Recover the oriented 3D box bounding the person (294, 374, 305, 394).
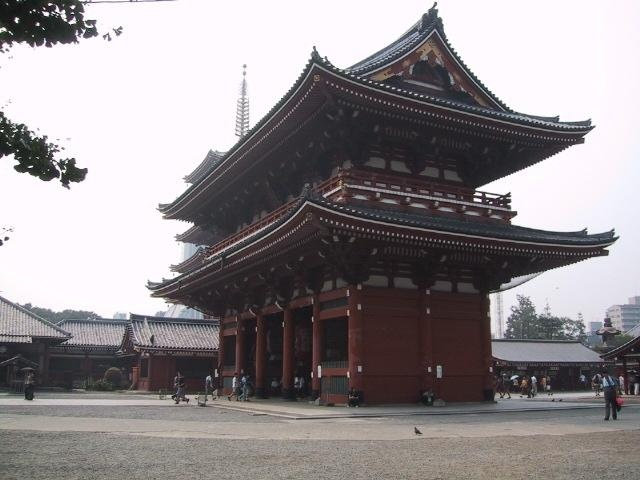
[{"bbox_3d":[-1.037,7.180,30.027,0.472,0.930,1.118,1,-18,-2],"label":"person"}]

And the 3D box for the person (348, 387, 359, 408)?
[{"bbox_3d":[1.181,5.794,22.274,0.442,0.691,0.189,-8,-19,24],"label":"person"}]
